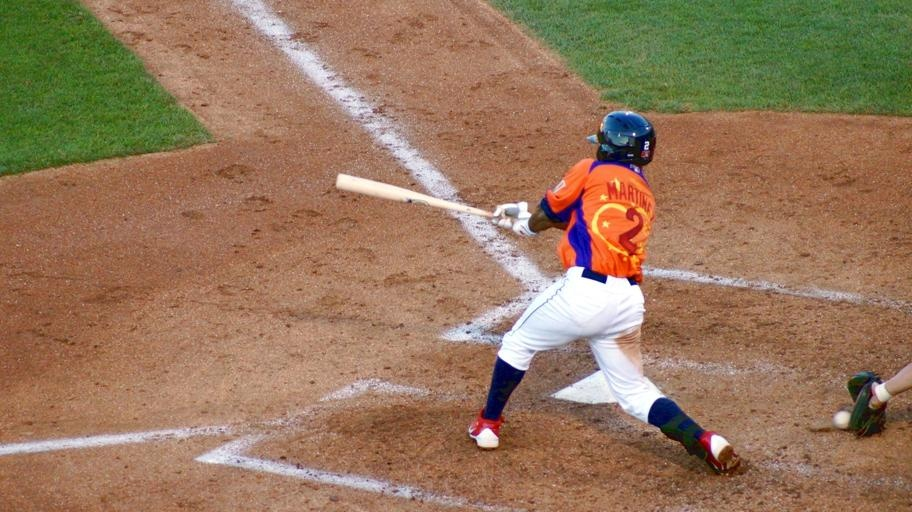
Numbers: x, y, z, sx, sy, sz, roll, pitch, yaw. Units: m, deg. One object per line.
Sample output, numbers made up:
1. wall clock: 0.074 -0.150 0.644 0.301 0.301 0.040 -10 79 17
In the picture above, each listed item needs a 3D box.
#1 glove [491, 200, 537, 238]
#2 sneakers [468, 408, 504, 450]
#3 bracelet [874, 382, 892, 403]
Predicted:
1. glove: 0.735 -0.479 14.177 0.524 0.470 0.196 9 75 6
2. sneakers: 0.352 2.202 13.746 0.283 0.248 0.594 3 10 -6
3. bracelet: 5.110 1.675 13.463 0.218 0.218 0.197 9 55 22
